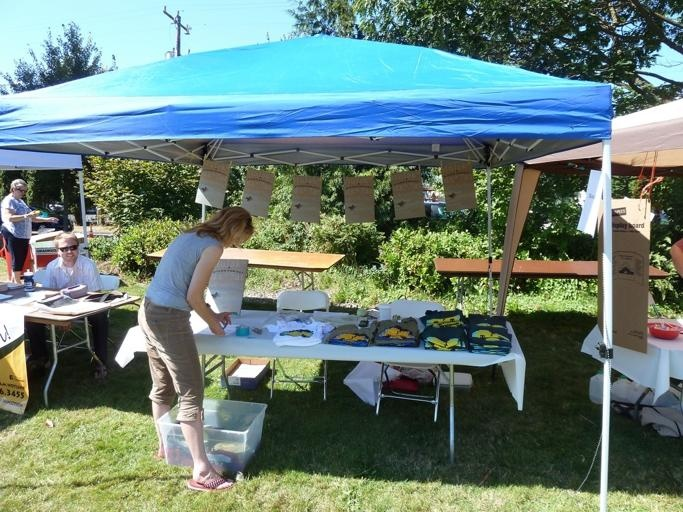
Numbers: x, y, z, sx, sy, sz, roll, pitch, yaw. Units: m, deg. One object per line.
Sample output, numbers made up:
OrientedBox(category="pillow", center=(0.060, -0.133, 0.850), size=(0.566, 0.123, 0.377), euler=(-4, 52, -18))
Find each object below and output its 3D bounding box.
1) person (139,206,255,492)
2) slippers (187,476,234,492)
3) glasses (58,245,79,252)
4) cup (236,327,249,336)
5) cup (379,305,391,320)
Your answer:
OrientedBox(category="person", center=(-1.119, 0.711, 4.377), size=(0.802, 2.155, 0.427), euler=(-2, 10, -18))
OrientedBox(category="slippers", center=(-1.011, 1.741, 4.409), size=(0.288, 0.070, 0.134), euler=(-1, -2, 5))
OrientedBox(category="glasses", center=(-2.742, -0.071, 5.728), size=(0.158, 0.062, 0.067), euler=(-3, 9, -26))
OrientedBox(category="cup", center=(-0.824, 0.627, 4.746), size=(0.077, 0.050, 0.074), euler=(1, -6, 0))
OrientedBox(category="cup", center=(0.380, 0.513, 5.133), size=(0.120, 0.126, 0.116), euler=(1, 9, 0))
